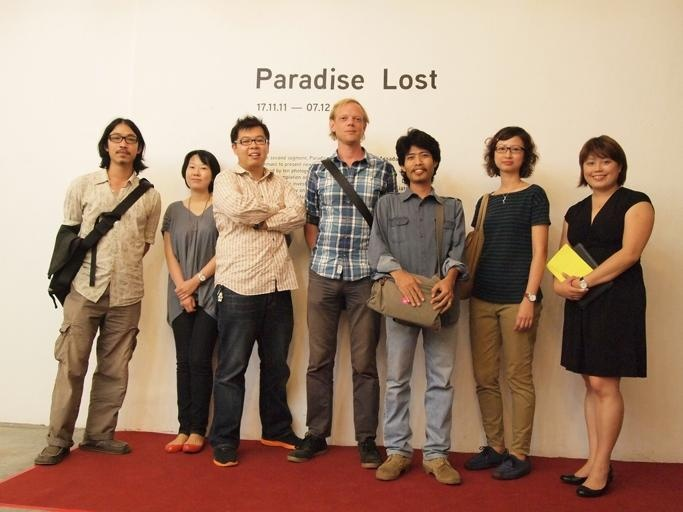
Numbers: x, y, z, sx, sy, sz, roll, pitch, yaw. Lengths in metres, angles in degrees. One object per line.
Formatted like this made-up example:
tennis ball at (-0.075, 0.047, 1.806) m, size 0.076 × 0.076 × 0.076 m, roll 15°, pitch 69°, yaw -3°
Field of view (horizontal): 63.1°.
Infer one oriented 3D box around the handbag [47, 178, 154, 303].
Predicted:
handbag at (-1.751, -0.090, 4.011) m, size 0.288 × 0.828 × 0.520 m, roll 31°, pitch 12°, yaw -40°

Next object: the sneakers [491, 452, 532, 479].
sneakers at (1.146, 1.397, 3.734) m, size 0.288 × 0.123 × 0.115 m, roll 4°, pitch -12°, yaw -42°

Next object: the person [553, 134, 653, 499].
person at (1.704, 0.353, 3.684) m, size 0.509 × 2.261 × 0.591 m, roll -1°, pitch 7°, yaw -13°

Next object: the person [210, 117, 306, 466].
person at (-0.606, 0.227, 3.951) m, size 0.698 × 2.394 × 0.487 m, roll -2°, pitch 7°, yaw -20°

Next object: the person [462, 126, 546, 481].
person at (1.123, 0.290, 3.855) m, size 0.545 × 2.339 × 0.615 m, roll 3°, pitch 8°, yaw 21°

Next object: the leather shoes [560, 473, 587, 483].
leather shoes at (1.537, 1.458, 3.676) m, size 0.148 × 0.051 × 0.058 m, roll 1°, pitch -2°, yaw -1°

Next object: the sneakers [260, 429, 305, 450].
sneakers at (-0.440, 1.367, 4.139) m, size 0.302 × 0.147 × 0.117 m, roll 1°, pitch 1°, yaw 7°

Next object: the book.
book at (1.549, 0.090, 3.635) m, size 0.095 × 0.345 × 0.349 m, roll 1°, pitch 40°, yaw -43°

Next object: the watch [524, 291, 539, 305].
watch at (1.284, 0.280, 3.745) m, size 0.077 × 0.056 × 0.082 m, roll -11°, pitch -36°, yaw 42°

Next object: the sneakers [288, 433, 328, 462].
sneakers at (-0.244, 1.371, 4.006) m, size 0.108 × 0.158 × 0.322 m, roll -10°, pitch -15°, yaw 35°

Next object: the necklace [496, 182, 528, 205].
necklace at (1.202, -0.473, 3.949) m, size 0.197 × 0.152 × 0.059 m, roll -18°, pitch -35°, yaw 31°

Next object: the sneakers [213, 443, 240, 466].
sneakers at (-0.796, 1.360, 3.849) m, size 0.182 × 0.143 × 0.165 m, roll -2°, pitch 8°, yaw -20°

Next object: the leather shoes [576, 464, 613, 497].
leather shoes at (1.646, 1.446, 3.590) m, size 0.323 × 0.140 × 0.109 m, roll 5°, pitch -14°, yaw -42°

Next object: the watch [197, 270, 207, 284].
watch at (-1.030, 0.156, 4.137) m, size 0.054 × 0.088 × 0.084 m, roll 16°, pitch -16°, yaw 23°

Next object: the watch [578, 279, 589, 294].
watch at (1.555, 0.190, 3.562) m, size 0.052 × 0.094 × 0.083 m, roll -2°, pitch 8°, yaw 23°

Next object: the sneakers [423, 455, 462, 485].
sneakers at (0.667, 1.402, 3.683) m, size 0.115 × 0.113 × 0.232 m, roll -5°, pitch 1°, yaw -32°

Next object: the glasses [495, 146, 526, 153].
glasses at (1.183, -0.740, 3.887) m, size 0.191 × 0.046 × 0.043 m, roll 2°, pitch 8°, yaw 6°

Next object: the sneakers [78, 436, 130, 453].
sneakers at (-1.706, 1.331, 4.040) m, size 0.352 × 0.157 × 0.133 m, roll 0°, pitch -4°, yaw 3°

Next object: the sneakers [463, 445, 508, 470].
sneakers at (0.998, 1.411, 3.924) m, size 0.347 × 0.154 × 0.125 m, roll -2°, pitch -9°, yaw -11°

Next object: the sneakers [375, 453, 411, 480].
sneakers at (0.334, 1.394, 3.678) m, size 0.096 × 0.125 × 0.275 m, roll -9°, pitch -15°, yaw 30°
